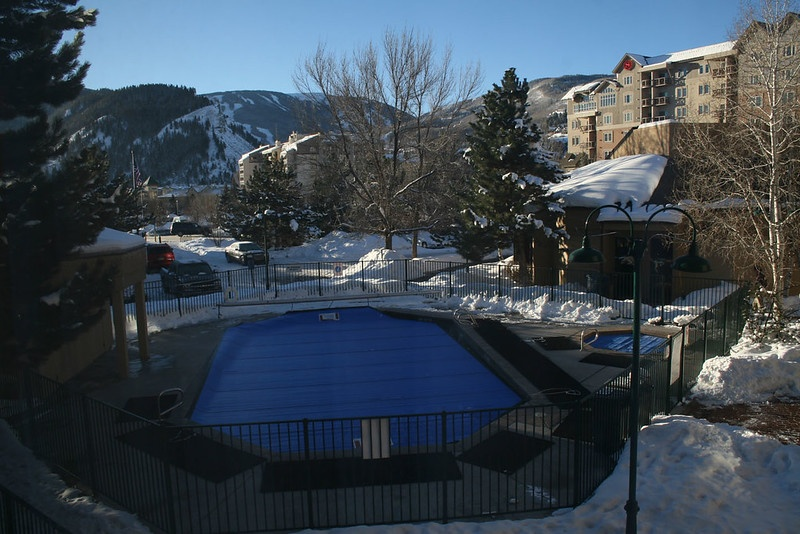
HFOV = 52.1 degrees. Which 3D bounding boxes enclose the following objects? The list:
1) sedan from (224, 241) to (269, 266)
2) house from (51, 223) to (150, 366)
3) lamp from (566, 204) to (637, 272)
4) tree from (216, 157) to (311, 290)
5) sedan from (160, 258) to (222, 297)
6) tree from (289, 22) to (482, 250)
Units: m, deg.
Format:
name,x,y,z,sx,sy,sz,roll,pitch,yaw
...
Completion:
name,x,y,z,sx,sy,sz,roll,pitch,yaw
sedan,-10.603,-0.902,56.198,1.936,1.363,5.241,-5,7,-22
house,-10.917,1.089,29.413,2.782,5.722,3.010,-16,27,-38
lamp,6.035,-0.839,24.109,1.935,1.982,1.133,-1,-15,14
tree,-10.696,-3.351,65.703,8.645,11.738,9.037,-1,10,-14
sedan,-10.731,0.637,41.721,2.365,1.703,3.687,-7,8,-36
tree,-0.312,-8.126,58.117,12.805,18.211,12.029,-2,6,0
